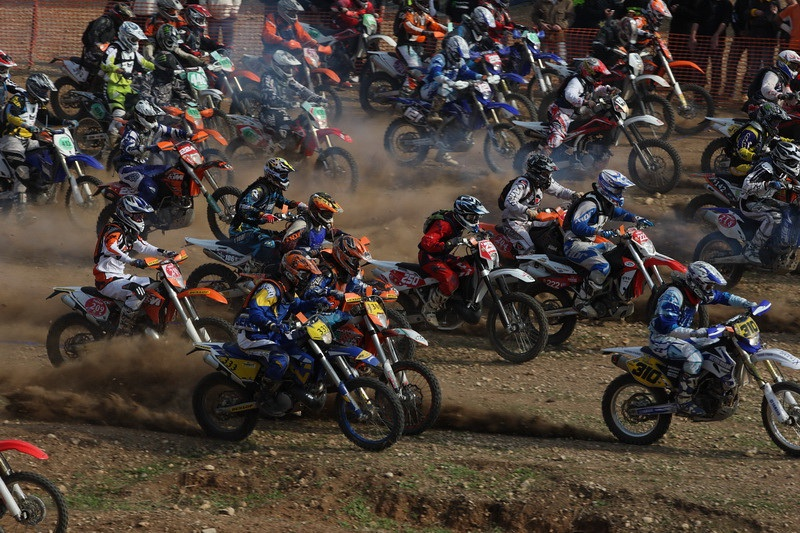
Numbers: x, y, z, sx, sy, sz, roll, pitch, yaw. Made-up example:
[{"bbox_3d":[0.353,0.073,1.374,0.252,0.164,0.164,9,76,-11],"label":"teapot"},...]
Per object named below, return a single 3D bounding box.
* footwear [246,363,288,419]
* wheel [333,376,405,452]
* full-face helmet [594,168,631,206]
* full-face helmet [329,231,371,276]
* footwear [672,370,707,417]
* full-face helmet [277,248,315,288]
[{"bbox_3d":[-1.504,1.471,8.211,0.623,0.580,0.373,7,1,15],"label":"footwear"},{"bbox_3d":[-0.339,1.717,8.057,1.231,0.770,0.336,9,20,17],"label":"wheel"},{"bbox_3d":[3.232,-1.205,10.478,0.561,0.336,0.404,32,31,27],"label":"full-face helmet"},{"bbox_3d":[-0.646,-0.169,8.761,0.576,0.356,0.372,22,17,16],"label":"full-face helmet"},{"bbox_3d":[3.427,1.497,8.102,0.381,0.562,0.108,10,17,12],"label":"footwear"},{"bbox_3d":[-1.181,0.054,8.141,0.279,0.432,0.476,-5,17,-35],"label":"full-face helmet"}]
